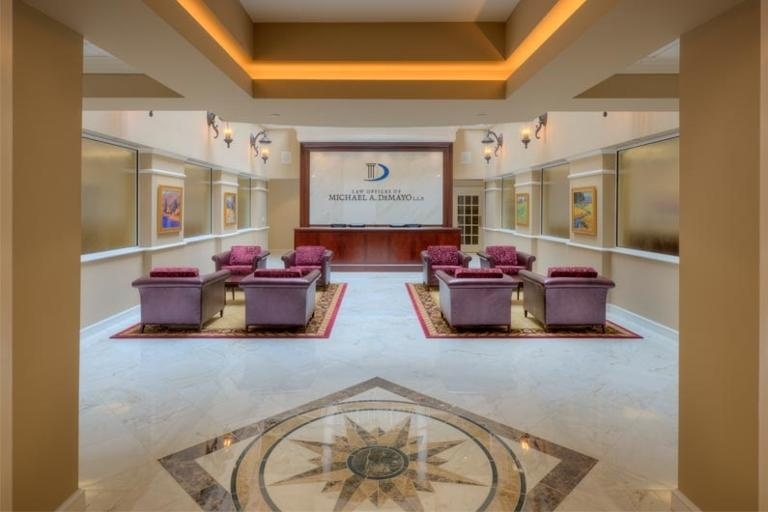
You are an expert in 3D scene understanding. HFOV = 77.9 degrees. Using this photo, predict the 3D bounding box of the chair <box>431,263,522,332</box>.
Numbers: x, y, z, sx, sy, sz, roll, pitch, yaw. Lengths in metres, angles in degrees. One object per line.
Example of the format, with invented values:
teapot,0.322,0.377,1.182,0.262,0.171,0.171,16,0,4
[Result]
chair,1.578,0.646,7.988,1.147,0.827,1.335,0,2,12

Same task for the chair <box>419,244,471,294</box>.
chair,1.523,0.268,10.973,1.140,1.194,0.990,0,-6,-5

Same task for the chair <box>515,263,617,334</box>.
chair,2.979,0.675,7.909,1.047,0.879,1.209,0,5,0

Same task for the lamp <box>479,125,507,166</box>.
lamp,3.326,-3.391,14.649,0.630,0.909,0.574,-1,4,15

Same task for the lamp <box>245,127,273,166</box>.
lamp,-3.835,-3.474,14.914,0.624,1.000,0.570,1,0,-18

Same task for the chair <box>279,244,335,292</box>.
chair,-1.742,0.290,10.981,1.069,1.025,0.924,0,0,6

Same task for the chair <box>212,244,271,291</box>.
chair,-3.100,0.308,10.403,1.073,1.040,1.036,1,3,12

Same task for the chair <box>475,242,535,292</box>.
chair,2.685,0.336,10.639,1.109,1.130,0.944,0,2,-7

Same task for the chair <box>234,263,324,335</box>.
chair,-1.782,0.629,8.104,1.062,0.935,1.654,0,3,-9

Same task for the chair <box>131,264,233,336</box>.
chair,-3.152,0.715,7.740,1.500,0.872,0.883,-3,-4,29
